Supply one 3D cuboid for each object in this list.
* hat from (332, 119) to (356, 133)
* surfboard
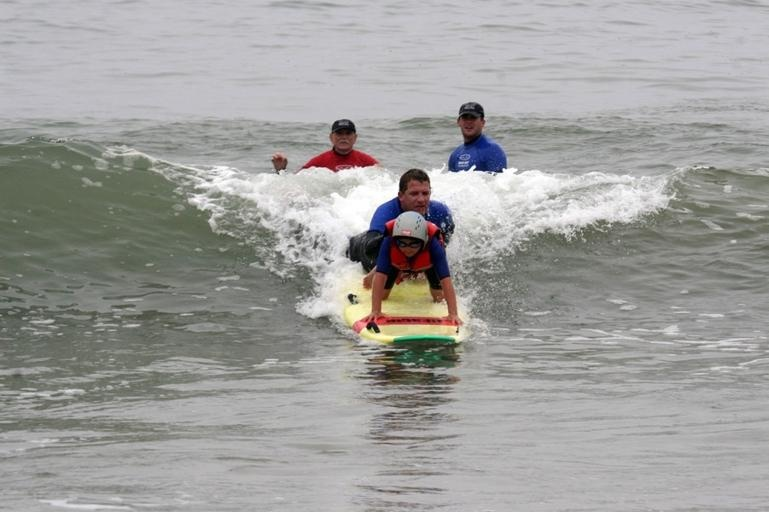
[{"bbox_3d":[-0.757,-2.366,19.547,0.407,0.321,0.327,-6,57,-3],"label":"hat"},{"bbox_3d":[0.331,0.836,16.960,1.769,0.290,2.303,-1,25,-5],"label":"surfboard"}]
